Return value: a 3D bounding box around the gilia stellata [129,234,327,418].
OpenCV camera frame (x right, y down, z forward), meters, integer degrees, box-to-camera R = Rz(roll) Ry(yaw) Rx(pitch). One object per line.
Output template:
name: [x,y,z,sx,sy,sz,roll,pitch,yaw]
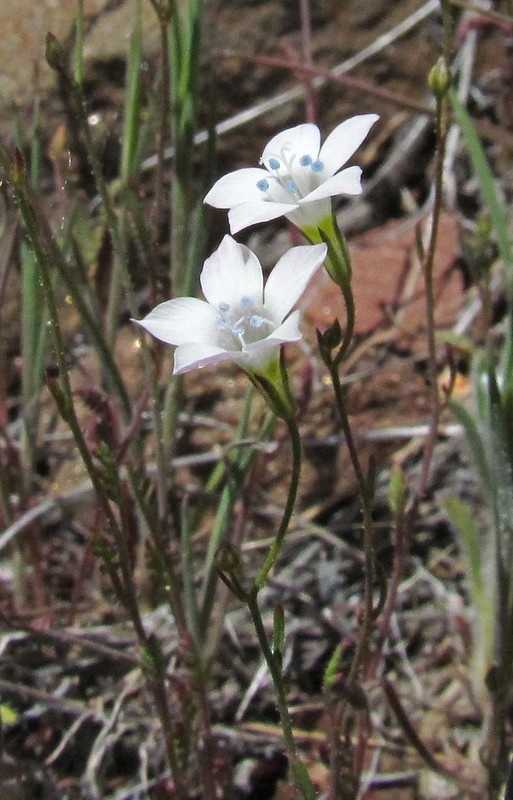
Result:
gilia stellata: [-0.017,-0.069,1.102,0.250,0.166,0.255,-37,18,-33]
